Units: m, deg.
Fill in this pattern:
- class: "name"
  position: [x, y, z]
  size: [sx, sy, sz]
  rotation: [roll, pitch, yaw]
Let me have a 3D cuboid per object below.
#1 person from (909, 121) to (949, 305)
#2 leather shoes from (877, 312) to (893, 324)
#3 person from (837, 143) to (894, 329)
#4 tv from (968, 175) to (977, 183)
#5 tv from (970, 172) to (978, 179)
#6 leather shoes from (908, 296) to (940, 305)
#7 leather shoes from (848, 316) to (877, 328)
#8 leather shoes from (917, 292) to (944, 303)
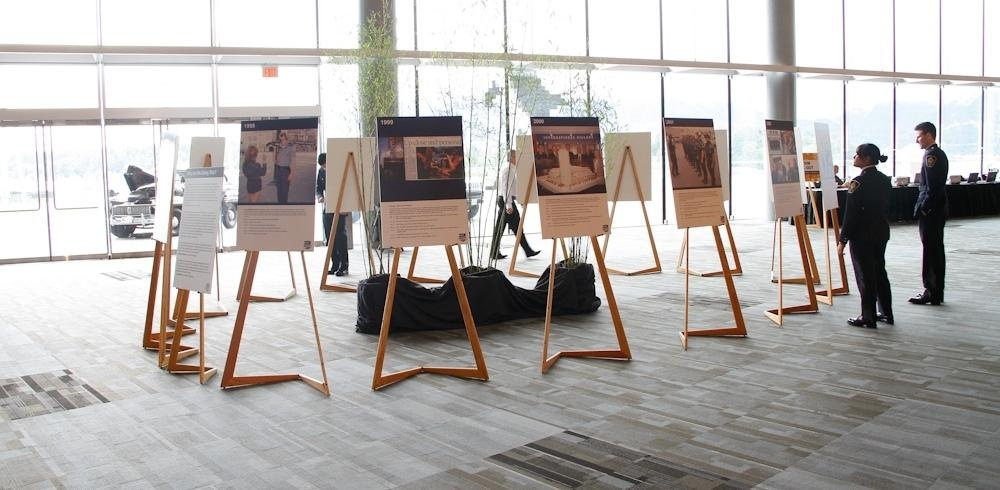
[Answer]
- class: "person"
  position: [7.327, -0.563, 9.646]
  size: [0.513, 3.038, 1.014]
  rotation: [3, 11, 37]
- class: "leather shoes"
  position: [6.061, 1.145, 8.938]
  size: [0.141, 0.097, 0.259]
  rotation: [0, 12, 4]
- class: "person"
  position: [5.815, -0.184, 8.939]
  size: [0.759, 2.804, 1.053]
  rotation: [2, 10, 33]
- class: "tv"
  position: [15.280, -2.127, 18.296]
  size: [0.282, 0.211, 0.191]
  rotation: [2, 4, 8]
- class: "tv"
  position: [15.391, -2.244, 18.359]
  size: [0.278, 0.210, 0.202]
  rotation: [2, 4, 13]
- class: "leather shoes"
  position: [7.158, 0.944, 9.556]
  size: [0.478, 0.175, 0.160]
  rotation: [4, 2, 16]
- class: "leather shoes"
  position: [5.614, 1.195, 8.758]
  size: [0.322, 0.113, 0.184]
  rotation: [9, 10, 41]
- class: "leather shoes"
  position: [7.321, 0.862, 9.574]
  size: [0.372, 0.199, 0.146]
  rotation: [0, 9, 14]
